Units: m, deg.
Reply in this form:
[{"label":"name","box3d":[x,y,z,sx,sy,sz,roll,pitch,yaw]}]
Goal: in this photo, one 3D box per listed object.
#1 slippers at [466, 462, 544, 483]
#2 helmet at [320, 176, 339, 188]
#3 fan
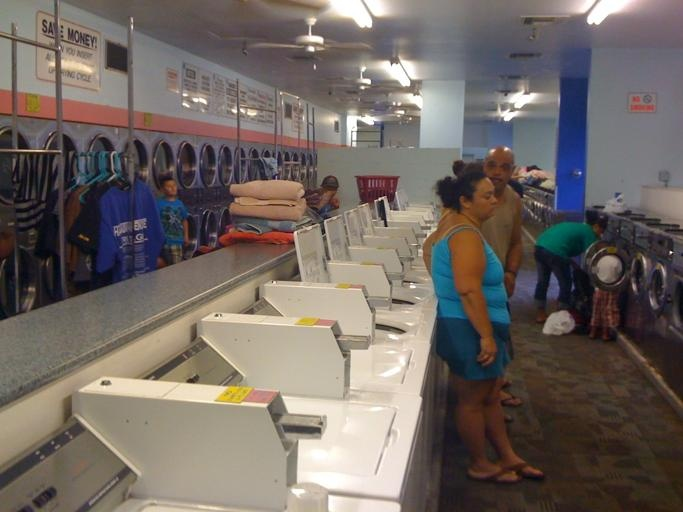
[{"label":"slippers","box3d":[1.024,1.337,2.834,0.328,0.089,0.176,-3,0,10]},{"label":"helmet","box3d":[-0.162,-1.065,6.756,0.198,0.169,0.270,8,14,12]},{"label":"fan","box3d":[-0.034,-3.180,7.713,2.111,0.395,4.129,9,14,33]}]
